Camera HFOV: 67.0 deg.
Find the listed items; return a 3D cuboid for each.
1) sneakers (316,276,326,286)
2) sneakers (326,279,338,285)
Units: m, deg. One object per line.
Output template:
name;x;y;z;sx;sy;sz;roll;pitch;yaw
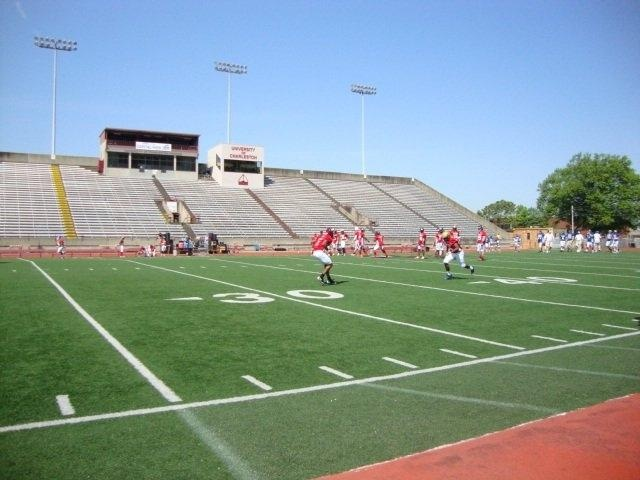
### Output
sneakers;0.045;1.194;13.926;0.173;0.376;0.143;-29;27;11
sneakers;0.335;1.206;14.022;0.312;0.125;0.556;1;3;0
